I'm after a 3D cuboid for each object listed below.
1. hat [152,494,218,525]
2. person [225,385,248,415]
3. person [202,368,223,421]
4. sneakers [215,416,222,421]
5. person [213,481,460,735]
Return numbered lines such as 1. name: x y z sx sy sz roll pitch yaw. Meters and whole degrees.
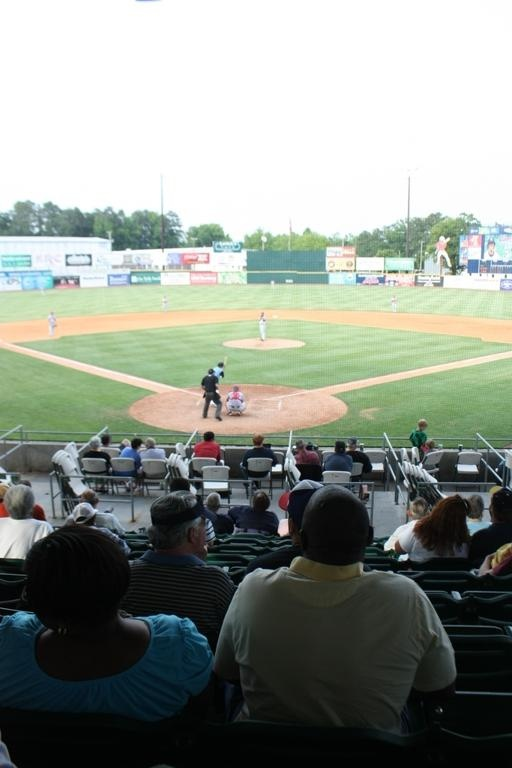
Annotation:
1. hat: -0.400 0.597 3.220 0.150 0.103 0.211 1 5 27
2. person: -0.639 0.492 19.493 0.560 0.890 0.820 0 7 -1
3. person: -1.335 0.243 19.233 0.574 1.524 1.564 0 7 -3
4. sneakers: -1.084 0.979 19.031 0.219 0.140 0.078 -15 22 -33
5. person: 0.269 0.958 2.374 0.894 1.173 0.693 2 6 9
